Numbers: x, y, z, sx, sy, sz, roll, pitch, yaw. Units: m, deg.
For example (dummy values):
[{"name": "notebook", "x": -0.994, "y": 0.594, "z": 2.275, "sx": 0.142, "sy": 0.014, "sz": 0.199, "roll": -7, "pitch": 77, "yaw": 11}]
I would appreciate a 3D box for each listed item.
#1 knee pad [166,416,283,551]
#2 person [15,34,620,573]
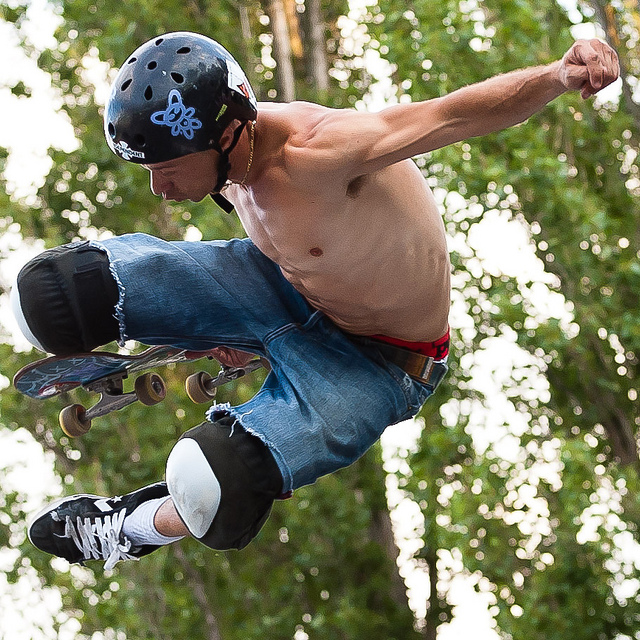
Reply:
[{"name": "knee pad", "x": -0.224, "y": 0.372, "z": 2.096, "sx": 0.221, "sy": 0.261, "sz": 0.176, "roll": -13, "pitch": 34, "yaw": -24}, {"name": "person", "x": -0.120, "y": -0.130, "z": 2.169, "sx": 1.142, "sy": 1.130, "sz": 0.742, "roll": -8, "pitch": 32, "yaw": -16}]
